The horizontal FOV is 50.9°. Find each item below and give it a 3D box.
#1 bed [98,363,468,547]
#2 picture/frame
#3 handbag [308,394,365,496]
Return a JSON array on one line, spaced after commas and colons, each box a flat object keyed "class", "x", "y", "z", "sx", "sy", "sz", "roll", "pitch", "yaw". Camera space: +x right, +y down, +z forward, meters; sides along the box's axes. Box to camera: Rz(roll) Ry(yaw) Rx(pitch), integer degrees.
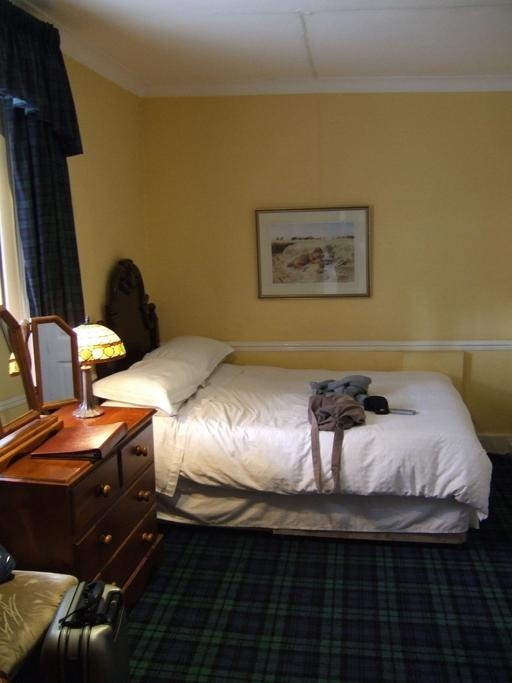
[{"class": "bed", "x": 0.297, "y": 0.588, "z": 2.675, "sx": 1.244, "sy": 0.356, "sz": 1.010, "roll": 2, "pitch": 11, "yaw": 4}, {"class": "picture/frame", "x": 0.430, "y": -0.664, "z": 3.827, "sx": 0.698, "sy": 0.486, "sz": 0.025, "roll": 1, "pitch": 14, "yaw": 4}, {"class": "handbag", "x": 0.383, "y": 0.483, "z": 2.657, "sx": 0.264, "sy": 0.131, "sz": 0.438, "roll": 0, "pitch": 33, "yaw": 11}]
